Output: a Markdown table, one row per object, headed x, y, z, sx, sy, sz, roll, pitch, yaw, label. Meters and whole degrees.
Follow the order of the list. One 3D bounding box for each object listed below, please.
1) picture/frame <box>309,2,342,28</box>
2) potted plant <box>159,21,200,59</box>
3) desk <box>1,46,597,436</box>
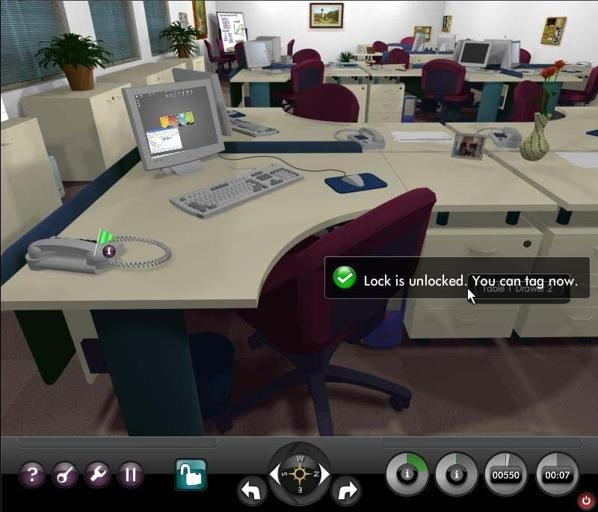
| x | y | z | sx | sy | sz | roll | pitch | yaw | label |
| --- | --- | --- | --- | --- | --- | --- | --- | --- | --- |
| 0.513 | -4.885 | 8.967 | 0.654 | 0.404 | 0.045 | -2 | 32 | -3 | picture/frame |
| -1.581 | -2.852 | 5.958 | 0.526 | 0.319 | 0.474 | 1 | 41 | -1 | potted plant |
| 0.010 | -0.003 | 1.601 | 1.516 | 0.526 | 1.321 | -1 | 27 | 1 | desk |
